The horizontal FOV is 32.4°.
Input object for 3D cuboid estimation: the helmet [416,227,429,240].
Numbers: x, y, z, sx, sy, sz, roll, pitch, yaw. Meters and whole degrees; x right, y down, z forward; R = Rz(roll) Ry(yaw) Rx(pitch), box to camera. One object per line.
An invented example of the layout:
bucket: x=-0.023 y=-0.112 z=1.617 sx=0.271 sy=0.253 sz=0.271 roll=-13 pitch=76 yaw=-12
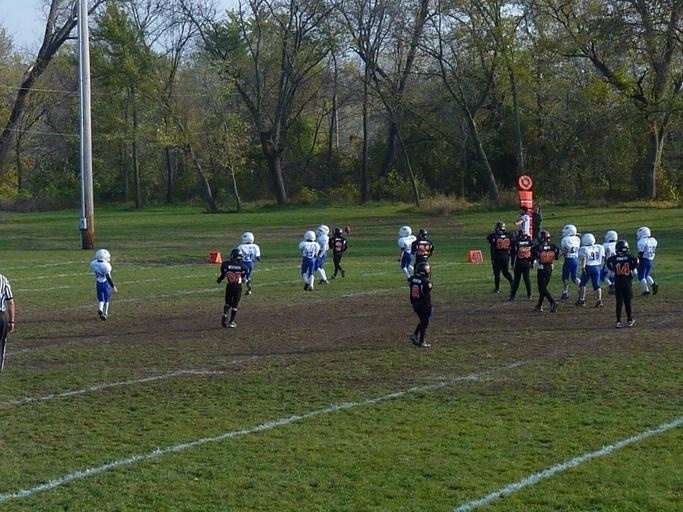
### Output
helmet: x=3.108 y=-0.833 z=44.369 sx=0.399 sy=0.462 sz=0.473 roll=4 pitch=23 yaw=0

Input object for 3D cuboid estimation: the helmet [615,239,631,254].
helmet: x=9.464 y=-0.321 z=39.544 sx=0.378 sy=0.397 sz=0.498 roll=3 pitch=9 yaw=18

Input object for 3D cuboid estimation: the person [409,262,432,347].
person: x=2.636 y=1.584 z=38.729 sx=0.709 sy=2.791 sz=0.658 roll=-4 pitch=3 yaw=-2

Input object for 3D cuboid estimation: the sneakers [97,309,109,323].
sneakers: x=-8.432 y=2.152 z=41.639 sx=0.206 sy=0.545 sz=0.254 roll=-17 pitch=43 yaw=-8

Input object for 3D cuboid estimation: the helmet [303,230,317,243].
helmet: x=-1.198 y=-0.763 z=46.131 sx=0.396 sy=0.472 sz=0.514 roll=2 pitch=16 yaw=-7

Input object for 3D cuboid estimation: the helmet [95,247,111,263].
helmet: x=-9.065 y=-0.035 z=44.781 sx=0.486 sy=0.441 sz=0.421 roll=-18 pitch=27 yaw=-30

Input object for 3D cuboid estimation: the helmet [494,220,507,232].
helmet: x=6.106 y=-1.137 z=44.652 sx=0.368 sy=0.464 sz=0.453 roll=7 pitch=-14 yaw=-14

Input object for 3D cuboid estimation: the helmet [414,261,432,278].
helmet: x=2.713 y=0.428 z=38.596 sx=0.503 sy=0.387 sz=0.433 roll=-29 pitch=-34 yaw=6

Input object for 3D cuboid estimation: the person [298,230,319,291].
person: x=-1.187 y=0.153 z=46.364 sx=0.755 sy=2.253 sz=1.566 roll=-4 pitch=3 yaw=-2

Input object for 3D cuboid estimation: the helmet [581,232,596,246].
helmet: x=8.907 y=-0.613 z=42.603 sx=0.457 sy=0.512 sz=0.603 roll=-8 pitch=18 yaw=-38
